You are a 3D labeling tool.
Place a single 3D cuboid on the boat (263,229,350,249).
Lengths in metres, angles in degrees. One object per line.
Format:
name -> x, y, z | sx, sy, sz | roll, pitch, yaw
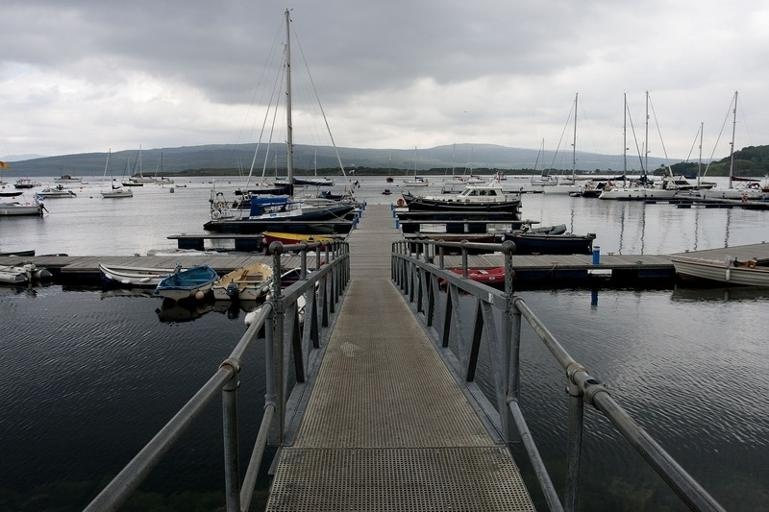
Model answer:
boat -> -2.783, -0.635, 19.931 | 3.971, 0.691, 0.867 | 3, 10, 10
